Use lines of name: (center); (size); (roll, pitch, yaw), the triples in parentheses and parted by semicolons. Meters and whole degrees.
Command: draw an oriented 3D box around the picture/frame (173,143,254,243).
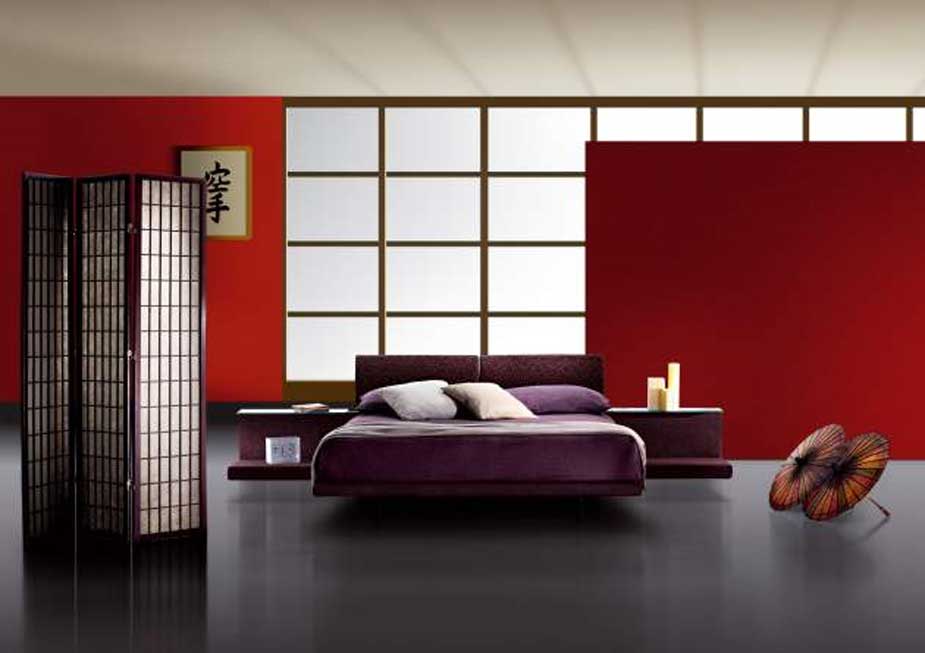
picture/frame: (-2.565, -1.410, 9.350); (0.736, 0.965, 0.331); (-2, 14, -12)

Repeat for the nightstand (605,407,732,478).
nightstand: (1.774, 0.933, 7.274); (0.662, 0.342, 0.669); (-1, -4, 4)

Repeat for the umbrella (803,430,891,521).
umbrella: (2.679, 1.029, 6.141); (0.240, 0.602, 0.579); (40, -25, -19)

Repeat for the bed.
bed: (0.143, 0.796, 7.040); (2.342, 0.747, 1.830); (1, 13, 2)
